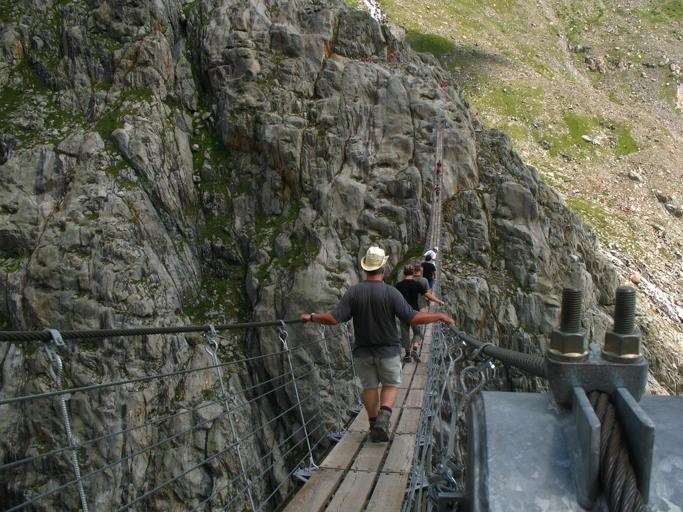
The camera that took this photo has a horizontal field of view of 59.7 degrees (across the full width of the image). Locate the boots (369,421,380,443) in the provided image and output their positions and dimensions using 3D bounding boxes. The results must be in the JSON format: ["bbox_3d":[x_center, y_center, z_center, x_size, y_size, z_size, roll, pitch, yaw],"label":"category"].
[{"bbox_3d":[0.659,3.655,12.359,0.132,0.484,0.303,-4,29,0],"label":"boots"}]

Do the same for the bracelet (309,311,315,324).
[{"bbox_3d":[-0.636,1.296,12.467,0.086,0.166,0.165,1,30,5],"label":"bracelet"}]

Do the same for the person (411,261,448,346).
[{"bbox_3d":[2.356,1.327,16.142,0.656,2.291,1.151,-33,40,-29],"label":"person"}]

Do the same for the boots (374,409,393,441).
[{"bbox_3d":[0.875,3.506,12.357,0.246,0.810,0.491,-1,22,10],"label":"boots"}]

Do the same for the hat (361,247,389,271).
[{"bbox_3d":[0.720,0.072,12.587,0.351,0.272,0.593,4,41,19],"label":"hat"}]

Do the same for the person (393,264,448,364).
[{"bbox_3d":[1.994,1.547,15.048,1.309,2.394,0.802,22,50,28],"label":"person"}]

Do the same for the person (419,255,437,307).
[{"bbox_3d":[2.632,0.653,18.024,0.399,1.570,0.395,7,25,22],"label":"person"}]
